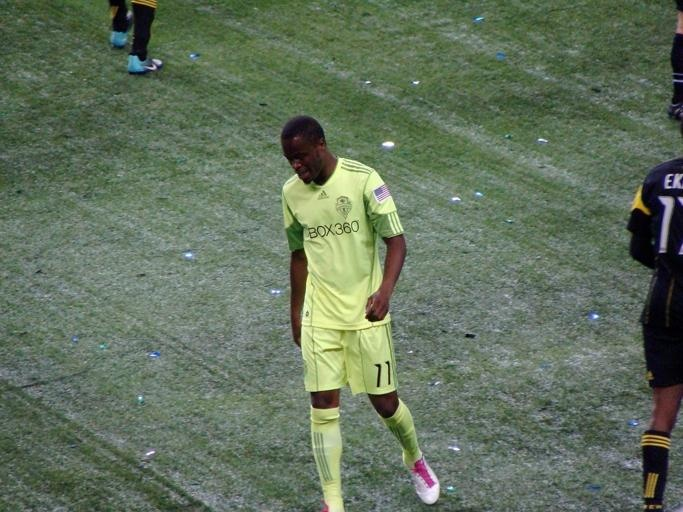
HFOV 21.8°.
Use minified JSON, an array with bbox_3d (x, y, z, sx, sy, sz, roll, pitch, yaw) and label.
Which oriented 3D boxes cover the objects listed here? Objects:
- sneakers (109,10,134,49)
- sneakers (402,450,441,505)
[{"bbox_3d":[-2.373,-2.379,18.848,0.201,0.419,0.229,8,-2,-11],"label":"sneakers"},{"bbox_3d":[0.695,1.814,14.669,0.224,0.200,0.456,-29,74,-4],"label":"sneakers"}]
